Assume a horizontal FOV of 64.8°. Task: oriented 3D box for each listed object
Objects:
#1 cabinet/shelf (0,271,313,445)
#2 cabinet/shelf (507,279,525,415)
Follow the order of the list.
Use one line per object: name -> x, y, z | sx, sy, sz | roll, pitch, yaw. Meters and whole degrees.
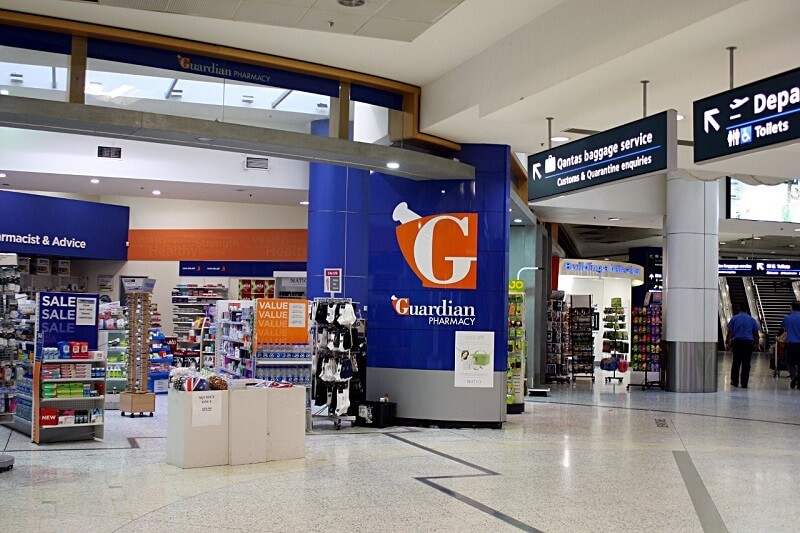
cabinet/shelf -> -3.938, 1.430, 10.609 | 4.605, 2.388, 5.592 | 0, -5, -9
cabinet/shelf -> 2.119, 1.494, 11.712 | 0.263, 2.430, 0.435 | -2, -6, 19
